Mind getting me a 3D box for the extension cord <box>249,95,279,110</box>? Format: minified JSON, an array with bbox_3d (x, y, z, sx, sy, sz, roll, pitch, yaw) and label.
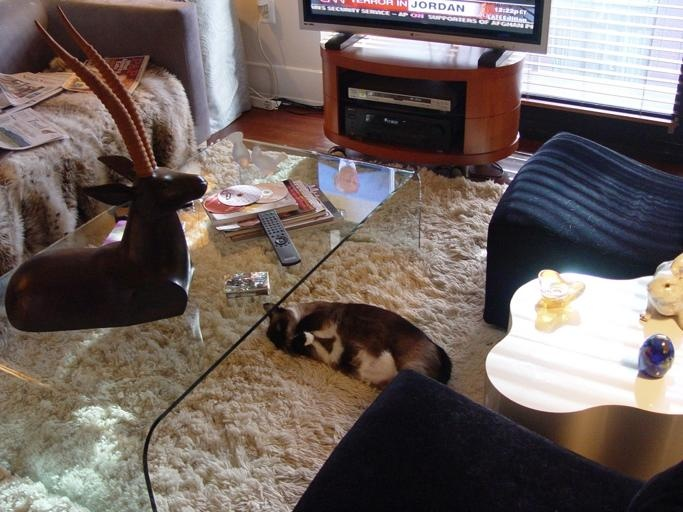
[{"bbox_3d":[-0.529,-1.034,3.556,0.167,0.063,0.124,28,44,29],"label":"extension cord"}]
